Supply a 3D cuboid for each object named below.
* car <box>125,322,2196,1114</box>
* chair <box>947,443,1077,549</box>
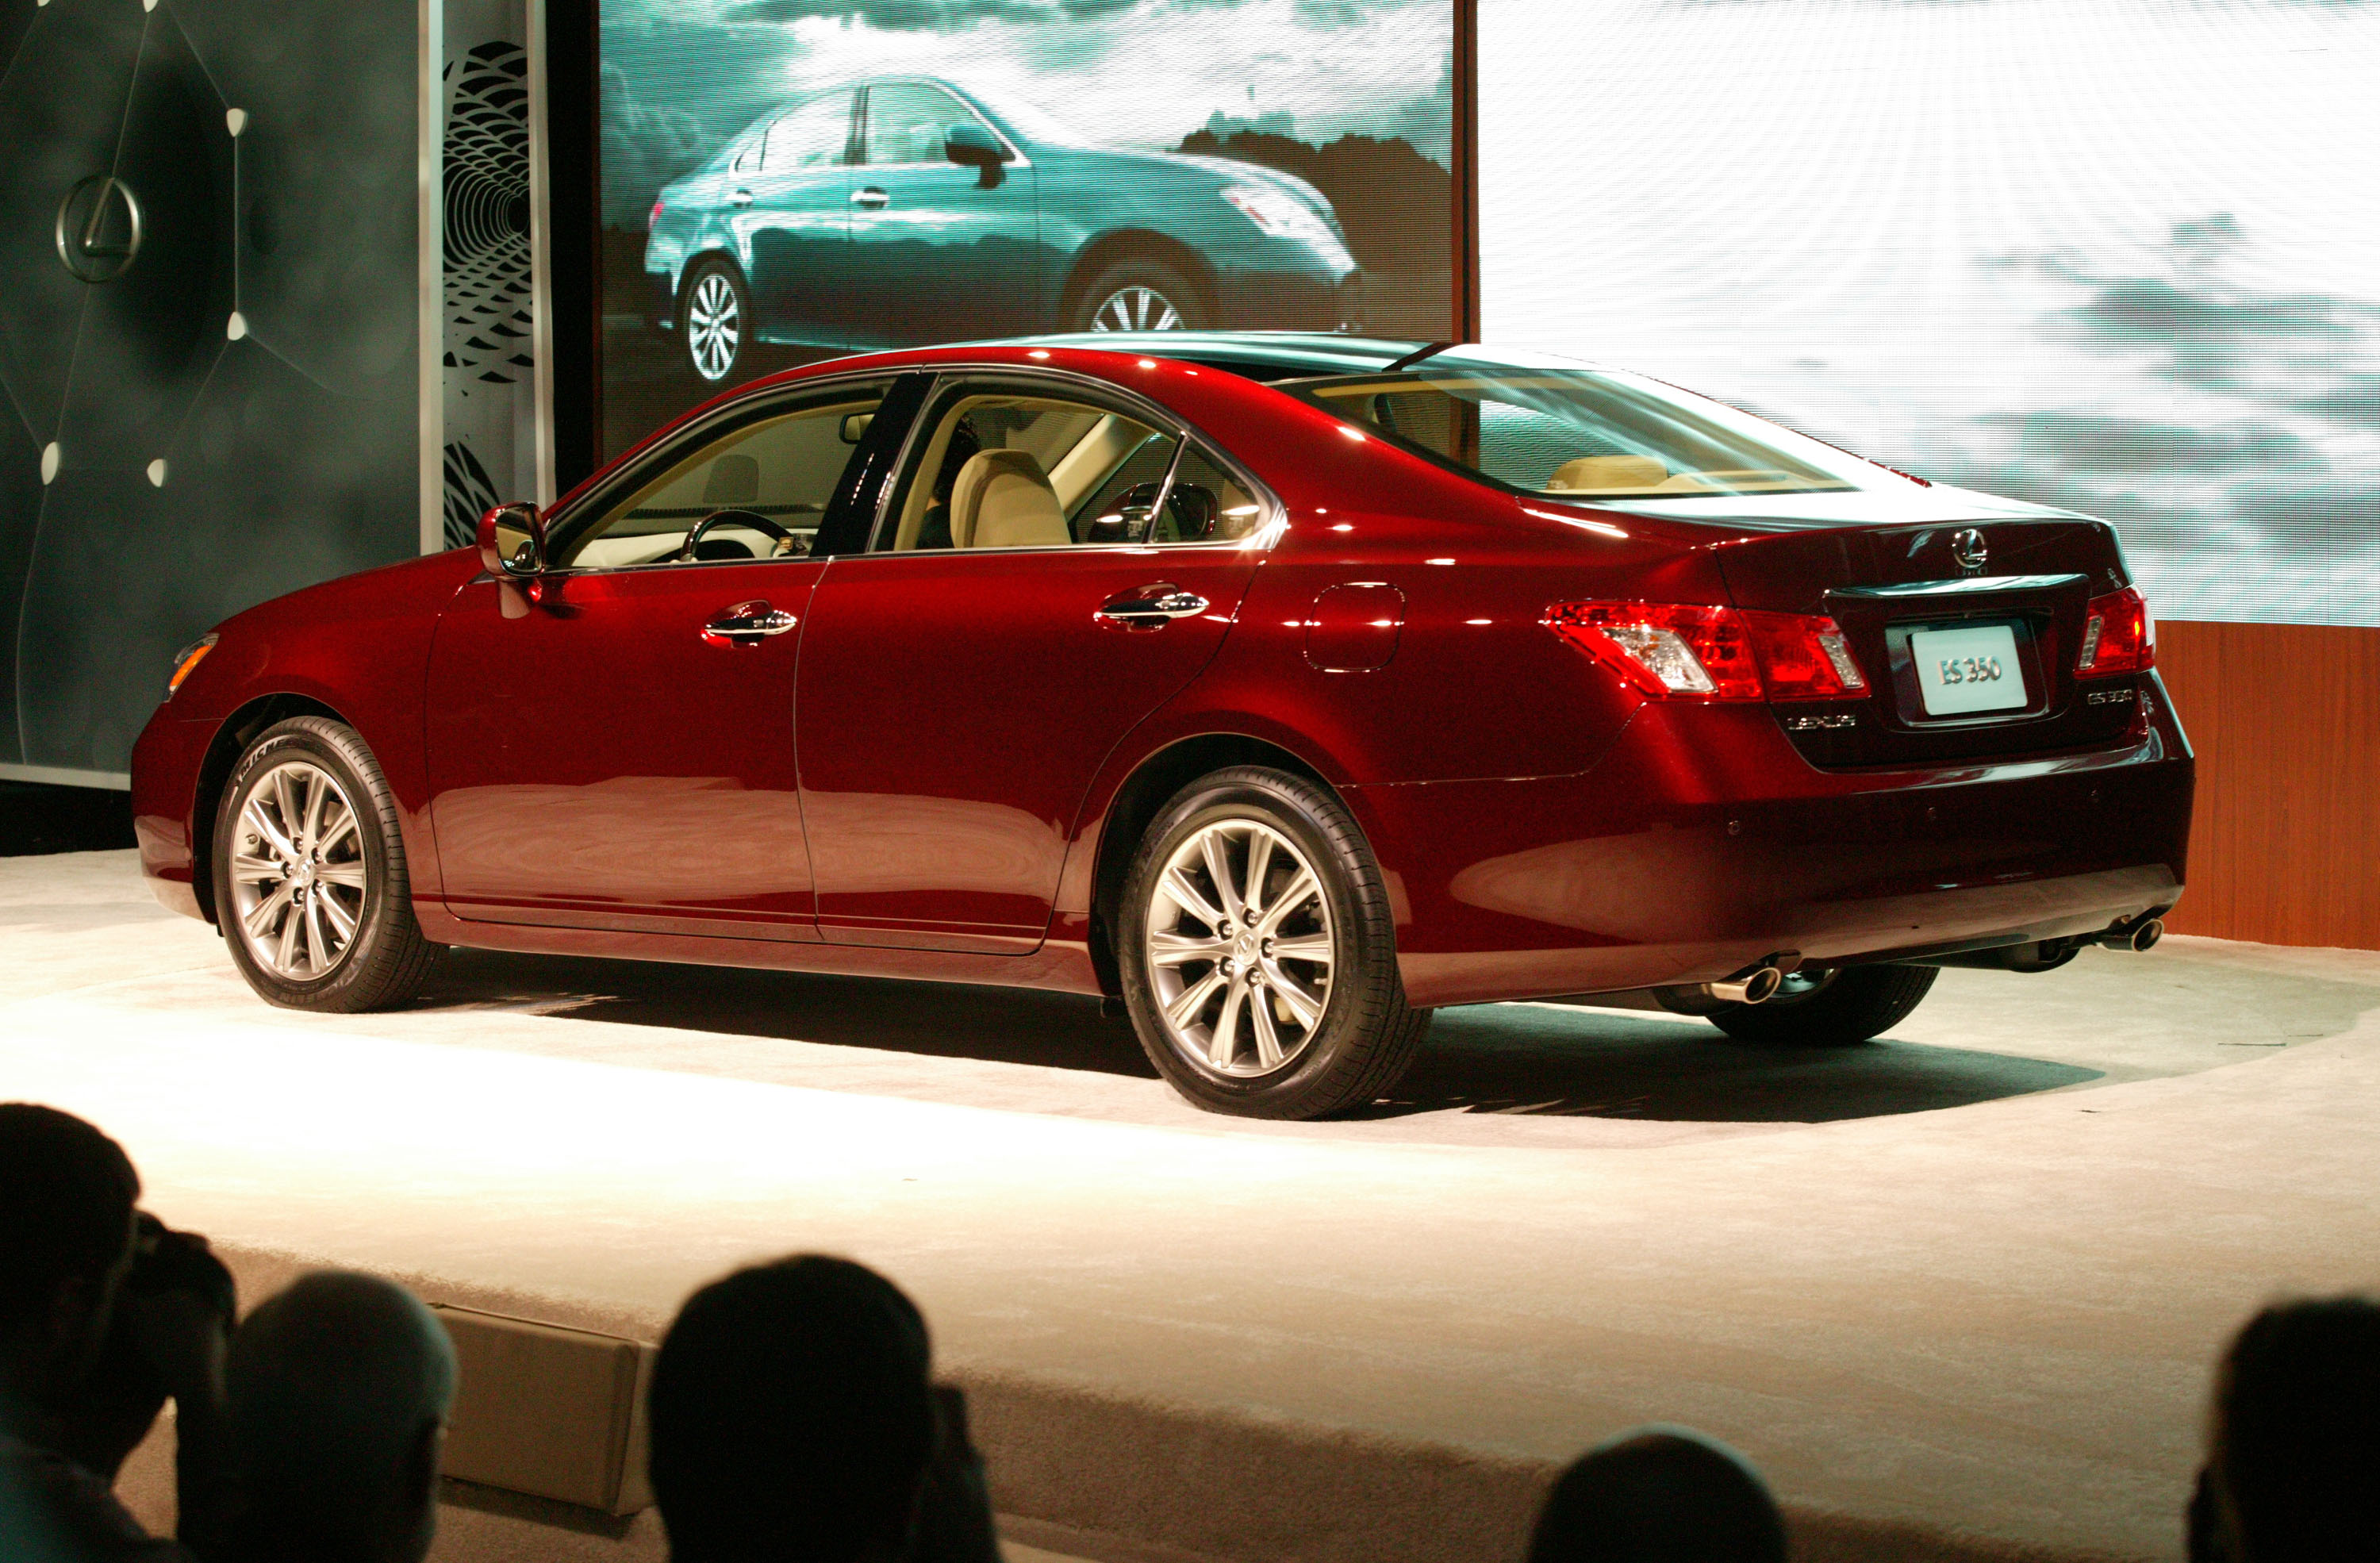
[{"bbox_3d":[-0.770,-0.256,6.743,8.488,2.091,3.412,2,2,28],"label":"car"},{"bbox_3d":[-0.706,-1.041,6.016,0.367,0.379,0.233,4,-10,-21],"label":"chair"}]
